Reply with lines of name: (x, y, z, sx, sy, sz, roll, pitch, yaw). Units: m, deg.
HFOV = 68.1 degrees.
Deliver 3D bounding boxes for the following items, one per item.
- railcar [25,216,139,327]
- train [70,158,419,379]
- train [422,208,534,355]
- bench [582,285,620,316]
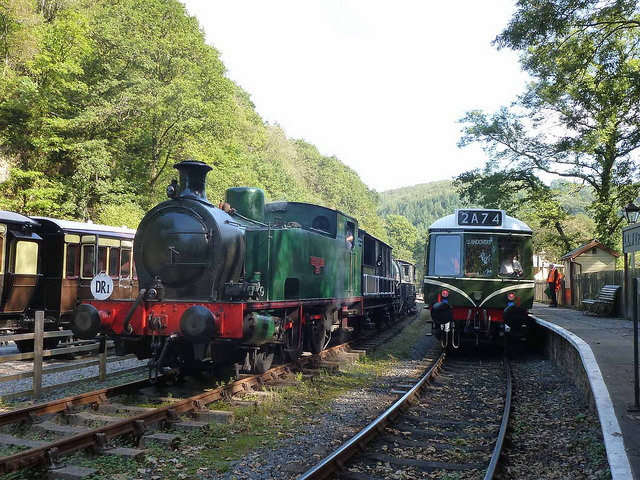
railcar: (-7.016, 0.898, 13.693, 2.676, 3.393, 2.713, -2, 2, 8)
train: (-0.772, 1.367, 16.778, 3.569, 4.583, 16.749, -3, -6, 13)
train: (4.899, 1.139, 14.533, 3.065, 4.447, 5.056, 2, 0, 17)
bench: (12.039, 2.363, 20.162, 1.038, 1.318, 1.907, 2, -10, 5)
